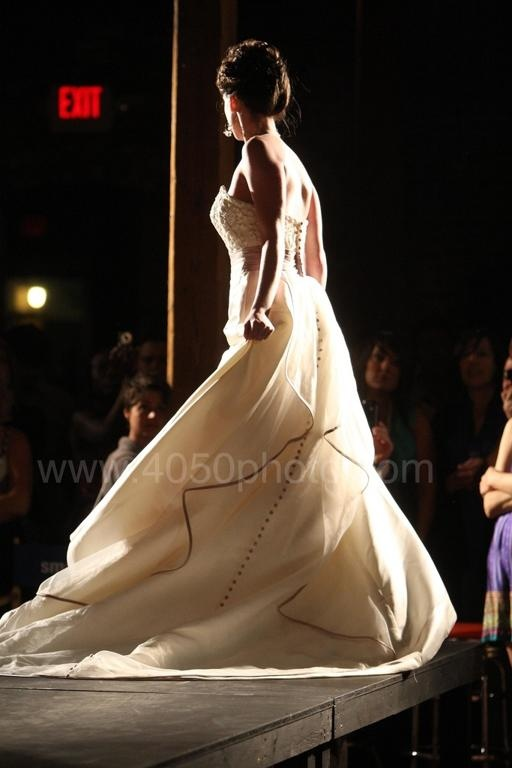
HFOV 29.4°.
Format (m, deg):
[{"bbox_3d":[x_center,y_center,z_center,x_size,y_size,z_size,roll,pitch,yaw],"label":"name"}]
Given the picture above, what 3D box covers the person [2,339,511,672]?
[{"bbox_3d":[-0.031,0.206,2.223,1.027,0.867,0.470,4,3,-7],"label":"person"}]
